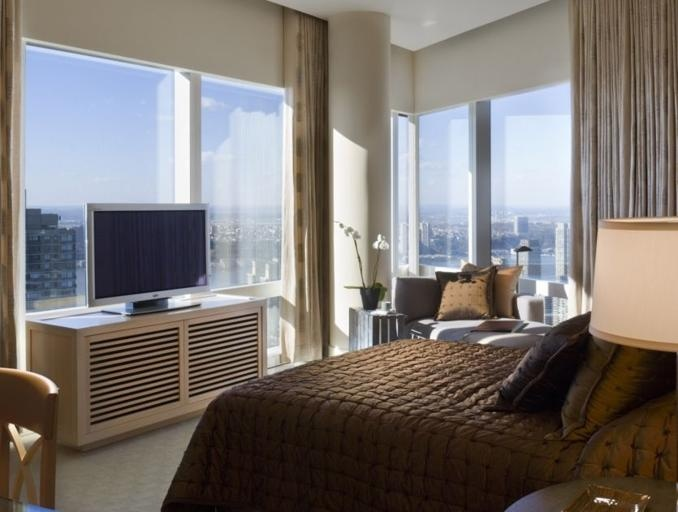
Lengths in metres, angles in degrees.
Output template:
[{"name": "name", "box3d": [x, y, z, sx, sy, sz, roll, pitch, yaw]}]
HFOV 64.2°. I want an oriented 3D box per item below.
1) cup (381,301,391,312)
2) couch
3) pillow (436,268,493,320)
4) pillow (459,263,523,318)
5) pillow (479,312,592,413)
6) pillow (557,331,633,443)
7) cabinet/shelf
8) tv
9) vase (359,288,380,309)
[{"name": "cup", "box3d": [0.451, 0.487, 5.204, 0.087, 0.064, 0.067, 0, 0, -3]}, {"name": "couch", "box3d": [1.161, 0.544, 4.995, 1.102, 0.902, 0.784, -1, -7, 25]}, {"name": "pillow", "box3d": [1.221, 0.364, 5.206, 0.555, 0.456, 0.302, -1, 5, 15]}, {"name": "pillow", "box3d": [1.575, 0.326, 5.215, 0.508, 0.517, 0.221, 4, -2, 18]}, {"name": "pillow", "box3d": [0.995, 0.525, 2.589, 0.145, 0.491, 0.492, 25, 0, 13]}, {"name": "pillow", "box3d": [1.086, 0.573, 2.398, 0.259, 0.409, 0.243, -2, 5, 5]}, {"name": "cabinet/shelf", "box3d": [-1.475, 0.893, 4.503, 0.564, 0.879, 1.871, 0, 1, 34]}, {"name": "tv", "box3d": [-1.548, 0.026, 4.377, 0.228, 0.890, 1.084, 5, 6, 38]}, {"name": "vase", "box3d": [0.291, 0.397, 5.137, 0.198, 0.192, 0.185, 0, 0, -14]}]
